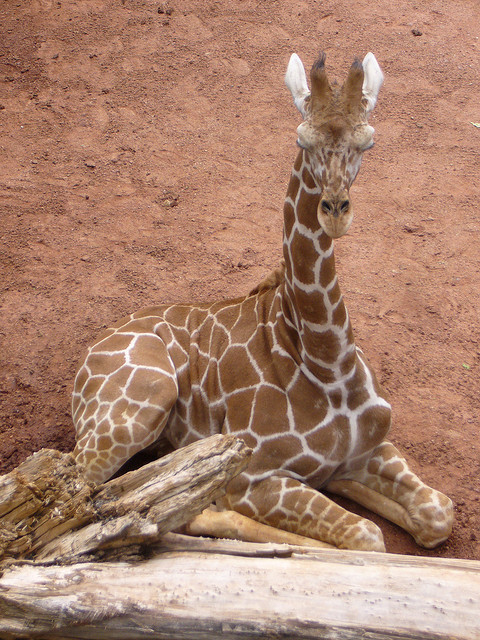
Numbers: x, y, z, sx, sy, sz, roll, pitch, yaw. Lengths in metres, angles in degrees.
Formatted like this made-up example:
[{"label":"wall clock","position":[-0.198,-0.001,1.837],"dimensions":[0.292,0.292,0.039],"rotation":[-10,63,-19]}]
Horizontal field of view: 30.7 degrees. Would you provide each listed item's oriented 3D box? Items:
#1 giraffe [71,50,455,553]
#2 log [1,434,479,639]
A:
[{"label":"giraffe","position":[0.183,-0.077,3.913],"dimensions":[1.752,2.090,1.268],"rotation":[13,20,39]},{"label":"log","position":[-0.046,0.684,3.072],"dimensions":[1.382,0.363,0.753],"rotation":[0,7,3]}]
